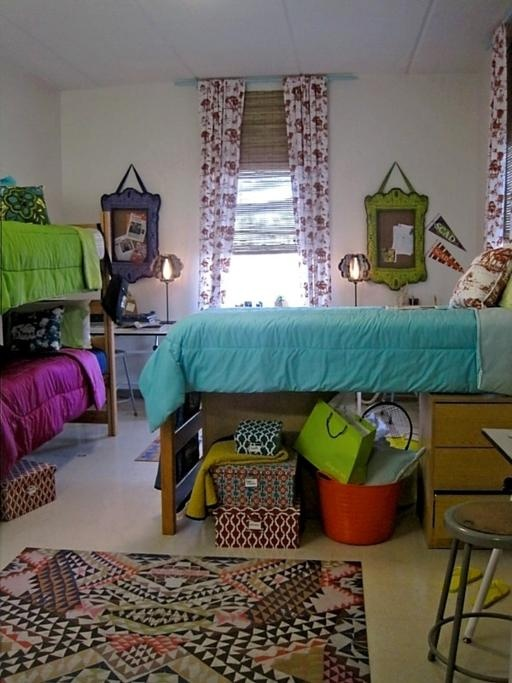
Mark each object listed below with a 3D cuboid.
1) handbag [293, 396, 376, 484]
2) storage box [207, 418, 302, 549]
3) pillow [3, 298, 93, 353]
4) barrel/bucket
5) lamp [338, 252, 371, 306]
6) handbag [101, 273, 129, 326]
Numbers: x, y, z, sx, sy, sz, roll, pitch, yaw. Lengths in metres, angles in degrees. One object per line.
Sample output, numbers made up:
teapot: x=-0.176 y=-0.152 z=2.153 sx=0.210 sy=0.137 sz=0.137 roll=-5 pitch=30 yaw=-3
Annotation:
handbag: x=0.295 y=0.399 z=2.155 sx=0.120 sy=0.220 sz=0.310 roll=22 pitch=7 yaw=-38
storage box: x=0.011 y=0.547 z=2.154 sx=0.327 sy=0.273 sz=0.433 roll=-1 pitch=2 yaw=4
pillow: x=-1.342 y=-0.094 z=3.457 sx=0.370 sy=0.364 sz=0.111 roll=1 pitch=0 yaw=-3
barrel/bucket: x=0.401 y=0.625 z=2.158 sx=0.267 sy=0.231 sz=0.266 roll=-1 pitch=-1 yaw=0
lamp: x=0.811 y=-0.516 z=4.537 sx=0.260 sy=0.441 sz=0.192 roll=0 pitch=4 yaw=9
handbag: x=-0.959 y=-0.300 z=3.695 sx=0.100 sy=0.269 sz=0.210 roll=6 pitch=47 yaw=-10
